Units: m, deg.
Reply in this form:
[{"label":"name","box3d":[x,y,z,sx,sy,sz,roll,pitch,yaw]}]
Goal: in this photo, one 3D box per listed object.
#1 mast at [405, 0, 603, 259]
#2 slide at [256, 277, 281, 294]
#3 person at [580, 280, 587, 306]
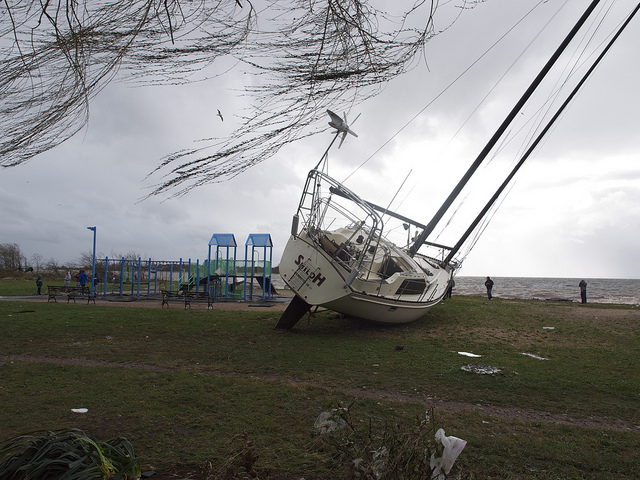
[{"label":"mast","box3d":[5.080,-2.639,12.367,1.242,10.591,1.447,44,3,-3]},{"label":"slide","box3d":[-3.627,3.147,29.347,1.358,1.051,4.787,4,-7,-6]},{"label":"person","box3d":[15.256,2.980,24.755,0.250,1.256,1.047,1,-7,27]}]
